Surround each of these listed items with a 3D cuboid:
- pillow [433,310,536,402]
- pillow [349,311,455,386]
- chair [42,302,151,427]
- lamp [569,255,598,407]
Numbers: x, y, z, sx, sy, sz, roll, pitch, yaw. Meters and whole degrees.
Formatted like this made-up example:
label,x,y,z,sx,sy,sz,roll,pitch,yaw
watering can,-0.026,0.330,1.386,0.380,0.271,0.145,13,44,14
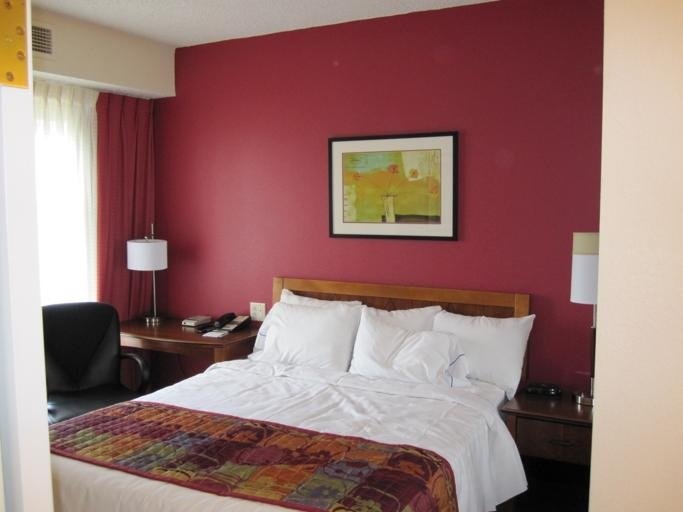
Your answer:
label,x,y,z,sx,sy,sz,roll,pitch,yaw
pillow,0.843,0.570,3.263,0.586,0.492,0.206,0,-1,44
pillow,0.326,0.554,3.166,0.460,0.333,0.128,1,-19,45
chair,-1.511,0.650,3.613,0.615,0.859,0.693,-7,8,-31
lamp,1.309,0.389,2.916,0.123,0.828,0.496,2,7,24
